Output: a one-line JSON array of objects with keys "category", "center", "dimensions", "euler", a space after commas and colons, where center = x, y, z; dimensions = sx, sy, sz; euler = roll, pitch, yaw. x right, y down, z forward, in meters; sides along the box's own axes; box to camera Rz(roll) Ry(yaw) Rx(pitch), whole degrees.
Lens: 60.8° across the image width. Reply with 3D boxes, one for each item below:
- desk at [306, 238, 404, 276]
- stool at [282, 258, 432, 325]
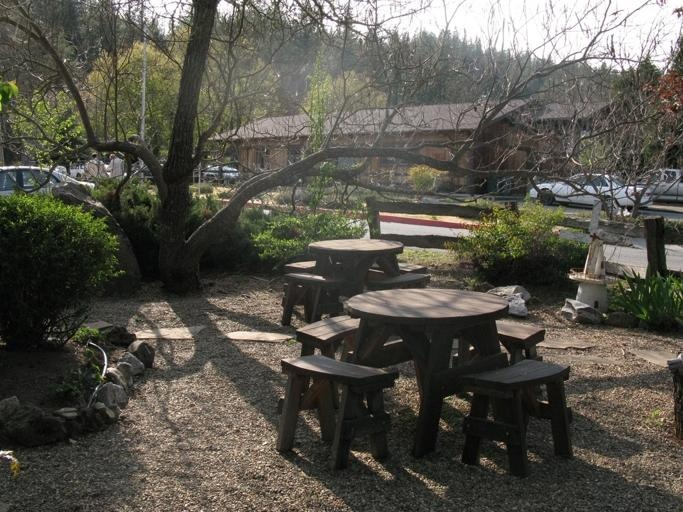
[{"category": "desk", "center": [0.196, 0.013, 7.922], "dimensions": [1.221, 0.396, 0.847], "euler": [1, 13, 1]}, {"category": "stool", "center": [-0.014, 0.490, 7.909], "dimensions": [1.116, 0.577, 1.151], "euler": [-8, 11, -41]}]
